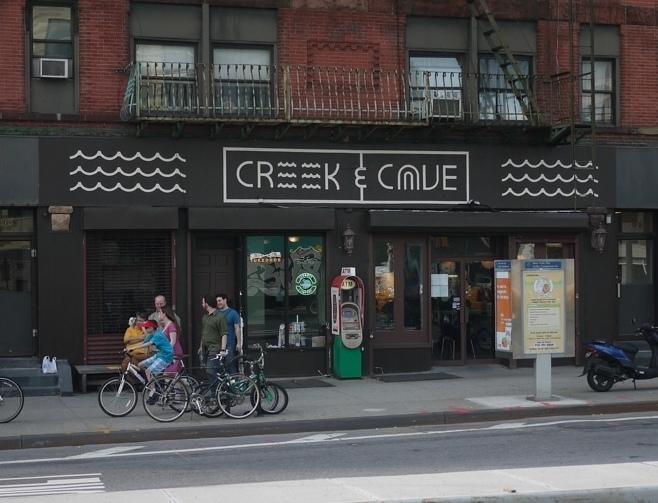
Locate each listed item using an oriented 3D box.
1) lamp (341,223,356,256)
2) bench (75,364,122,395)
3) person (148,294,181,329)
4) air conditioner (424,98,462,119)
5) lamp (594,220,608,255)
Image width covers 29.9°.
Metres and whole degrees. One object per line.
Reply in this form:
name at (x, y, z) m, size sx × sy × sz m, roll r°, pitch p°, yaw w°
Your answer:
lamp at (0.483, -0.317, 29.252) m, size 0.334 × 0.741 × 0.338 m, roll -2°, pitch -1°, yaw -1°
bench at (-5.221, 2.753, 27.448) m, size 0.757 × 0.405 × 0.781 m, roll 0°, pitch -1°, yaw -16°
person at (-3.630, 1.315, 26.933) m, size 0.652 × 0.925 × 0.486 m, roll -3°, pitch 2°, yaw 3°
air conditioner at (2.759, -3.474, 29.430) m, size 0.813 × 0.643 × 1.256 m, roll -2°, pitch -2°, yaw 6°
lamp at (6.716, -0.361, 30.614) m, size 0.352 × 0.678 × 0.195 m, roll 3°, pitch -3°, yaw 18°
